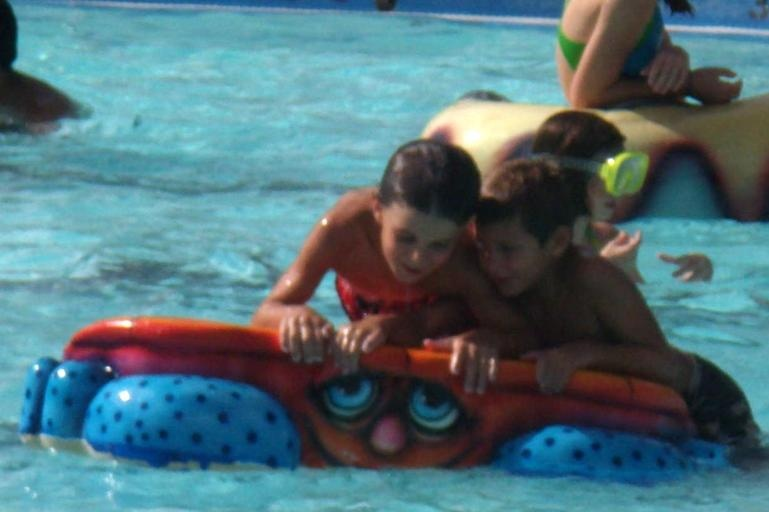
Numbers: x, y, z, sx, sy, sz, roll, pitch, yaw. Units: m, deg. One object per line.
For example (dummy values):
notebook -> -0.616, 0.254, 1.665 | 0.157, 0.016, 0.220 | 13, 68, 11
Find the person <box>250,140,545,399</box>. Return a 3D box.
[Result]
person -> 0.048, 0.009, 2.520 | 0.729, 0.644, 0.936 | 4, 11, -21

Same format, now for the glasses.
glasses -> 0.607, -0.238, 2.407 | 0.213, 0.074, 0.160 | 17, 6, 10

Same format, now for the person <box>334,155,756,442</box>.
person -> 0.644, 0.229, 2.616 | 0.476, 1.301, 0.594 | -4, 58, 52
